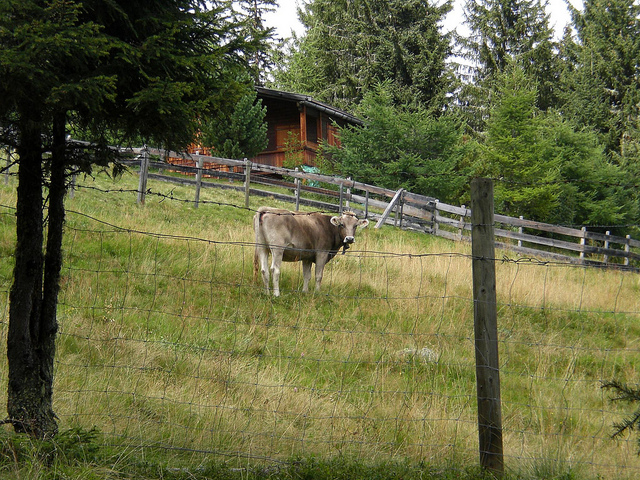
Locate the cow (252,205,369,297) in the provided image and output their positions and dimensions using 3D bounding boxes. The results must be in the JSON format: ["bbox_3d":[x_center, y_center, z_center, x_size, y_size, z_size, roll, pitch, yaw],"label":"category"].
[{"bbox_3d":[-0.165,0.278,17.993,2.354,1.967,0.924,5,-5,-31],"label":"cow"}]
